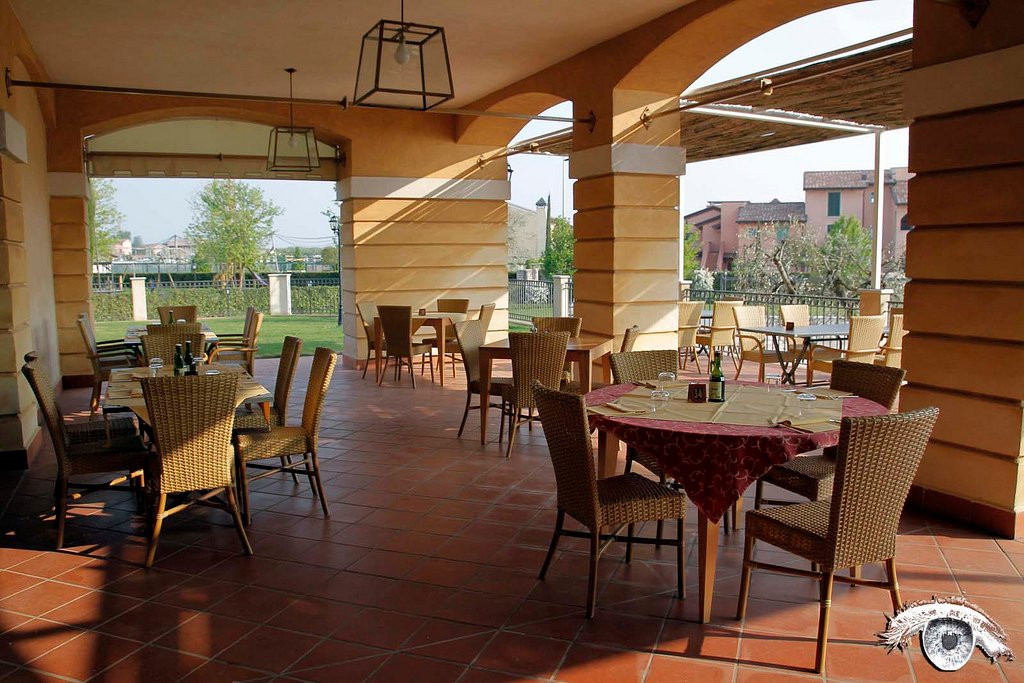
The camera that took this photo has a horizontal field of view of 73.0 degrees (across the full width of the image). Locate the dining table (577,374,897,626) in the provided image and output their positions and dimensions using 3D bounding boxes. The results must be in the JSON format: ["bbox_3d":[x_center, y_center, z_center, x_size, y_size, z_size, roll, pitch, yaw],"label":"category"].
[{"bbox_3d":[1.406,0.839,4.339,1.647,0.902,1.565,-2,7,-22],"label":"dining table"}]

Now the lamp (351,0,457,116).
[{"bbox_3d":[-0.832,-2.159,5.343,0.695,0.601,0.421,-4,15,-14],"label":"lamp"}]

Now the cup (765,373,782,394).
[{"bbox_3d":[2.823,0.433,7.493,0.159,0.146,0.288,14,-4,32],"label":"cup"}]

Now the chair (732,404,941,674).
[{"bbox_3d":[1.771,0.988,3.870,0.844,1.319,0.616,-10,17,-32],"label":"chair"}]
